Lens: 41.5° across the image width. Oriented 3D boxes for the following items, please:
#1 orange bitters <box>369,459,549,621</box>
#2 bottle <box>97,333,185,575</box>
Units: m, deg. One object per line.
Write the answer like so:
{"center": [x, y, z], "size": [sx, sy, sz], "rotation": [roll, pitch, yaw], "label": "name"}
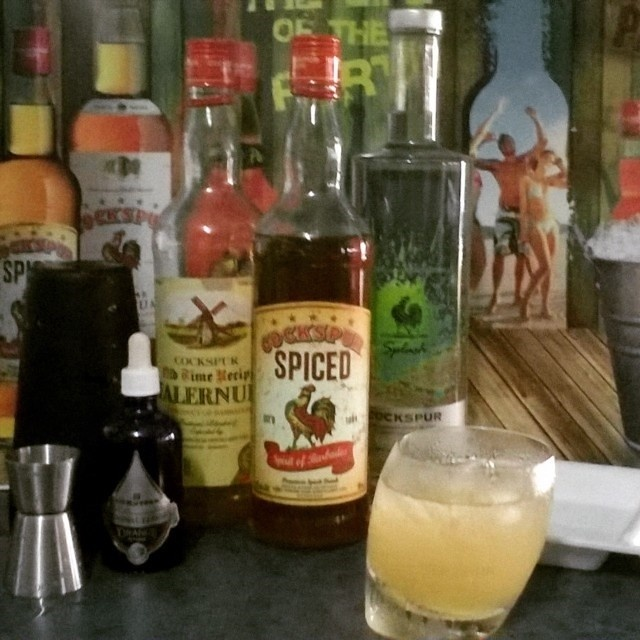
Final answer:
{"center": [0.113, 0.154, 0.677], "size": [0.113, 0.111, 0.112], "rotation": [-1, 6, -27], "label": "orange bitters"}
{"center": [-0.157, 0.115, 0.753], "size": [0.074, 0.206, 0.069], "rotation": [2, 10, 0], "label": "bottle"}
